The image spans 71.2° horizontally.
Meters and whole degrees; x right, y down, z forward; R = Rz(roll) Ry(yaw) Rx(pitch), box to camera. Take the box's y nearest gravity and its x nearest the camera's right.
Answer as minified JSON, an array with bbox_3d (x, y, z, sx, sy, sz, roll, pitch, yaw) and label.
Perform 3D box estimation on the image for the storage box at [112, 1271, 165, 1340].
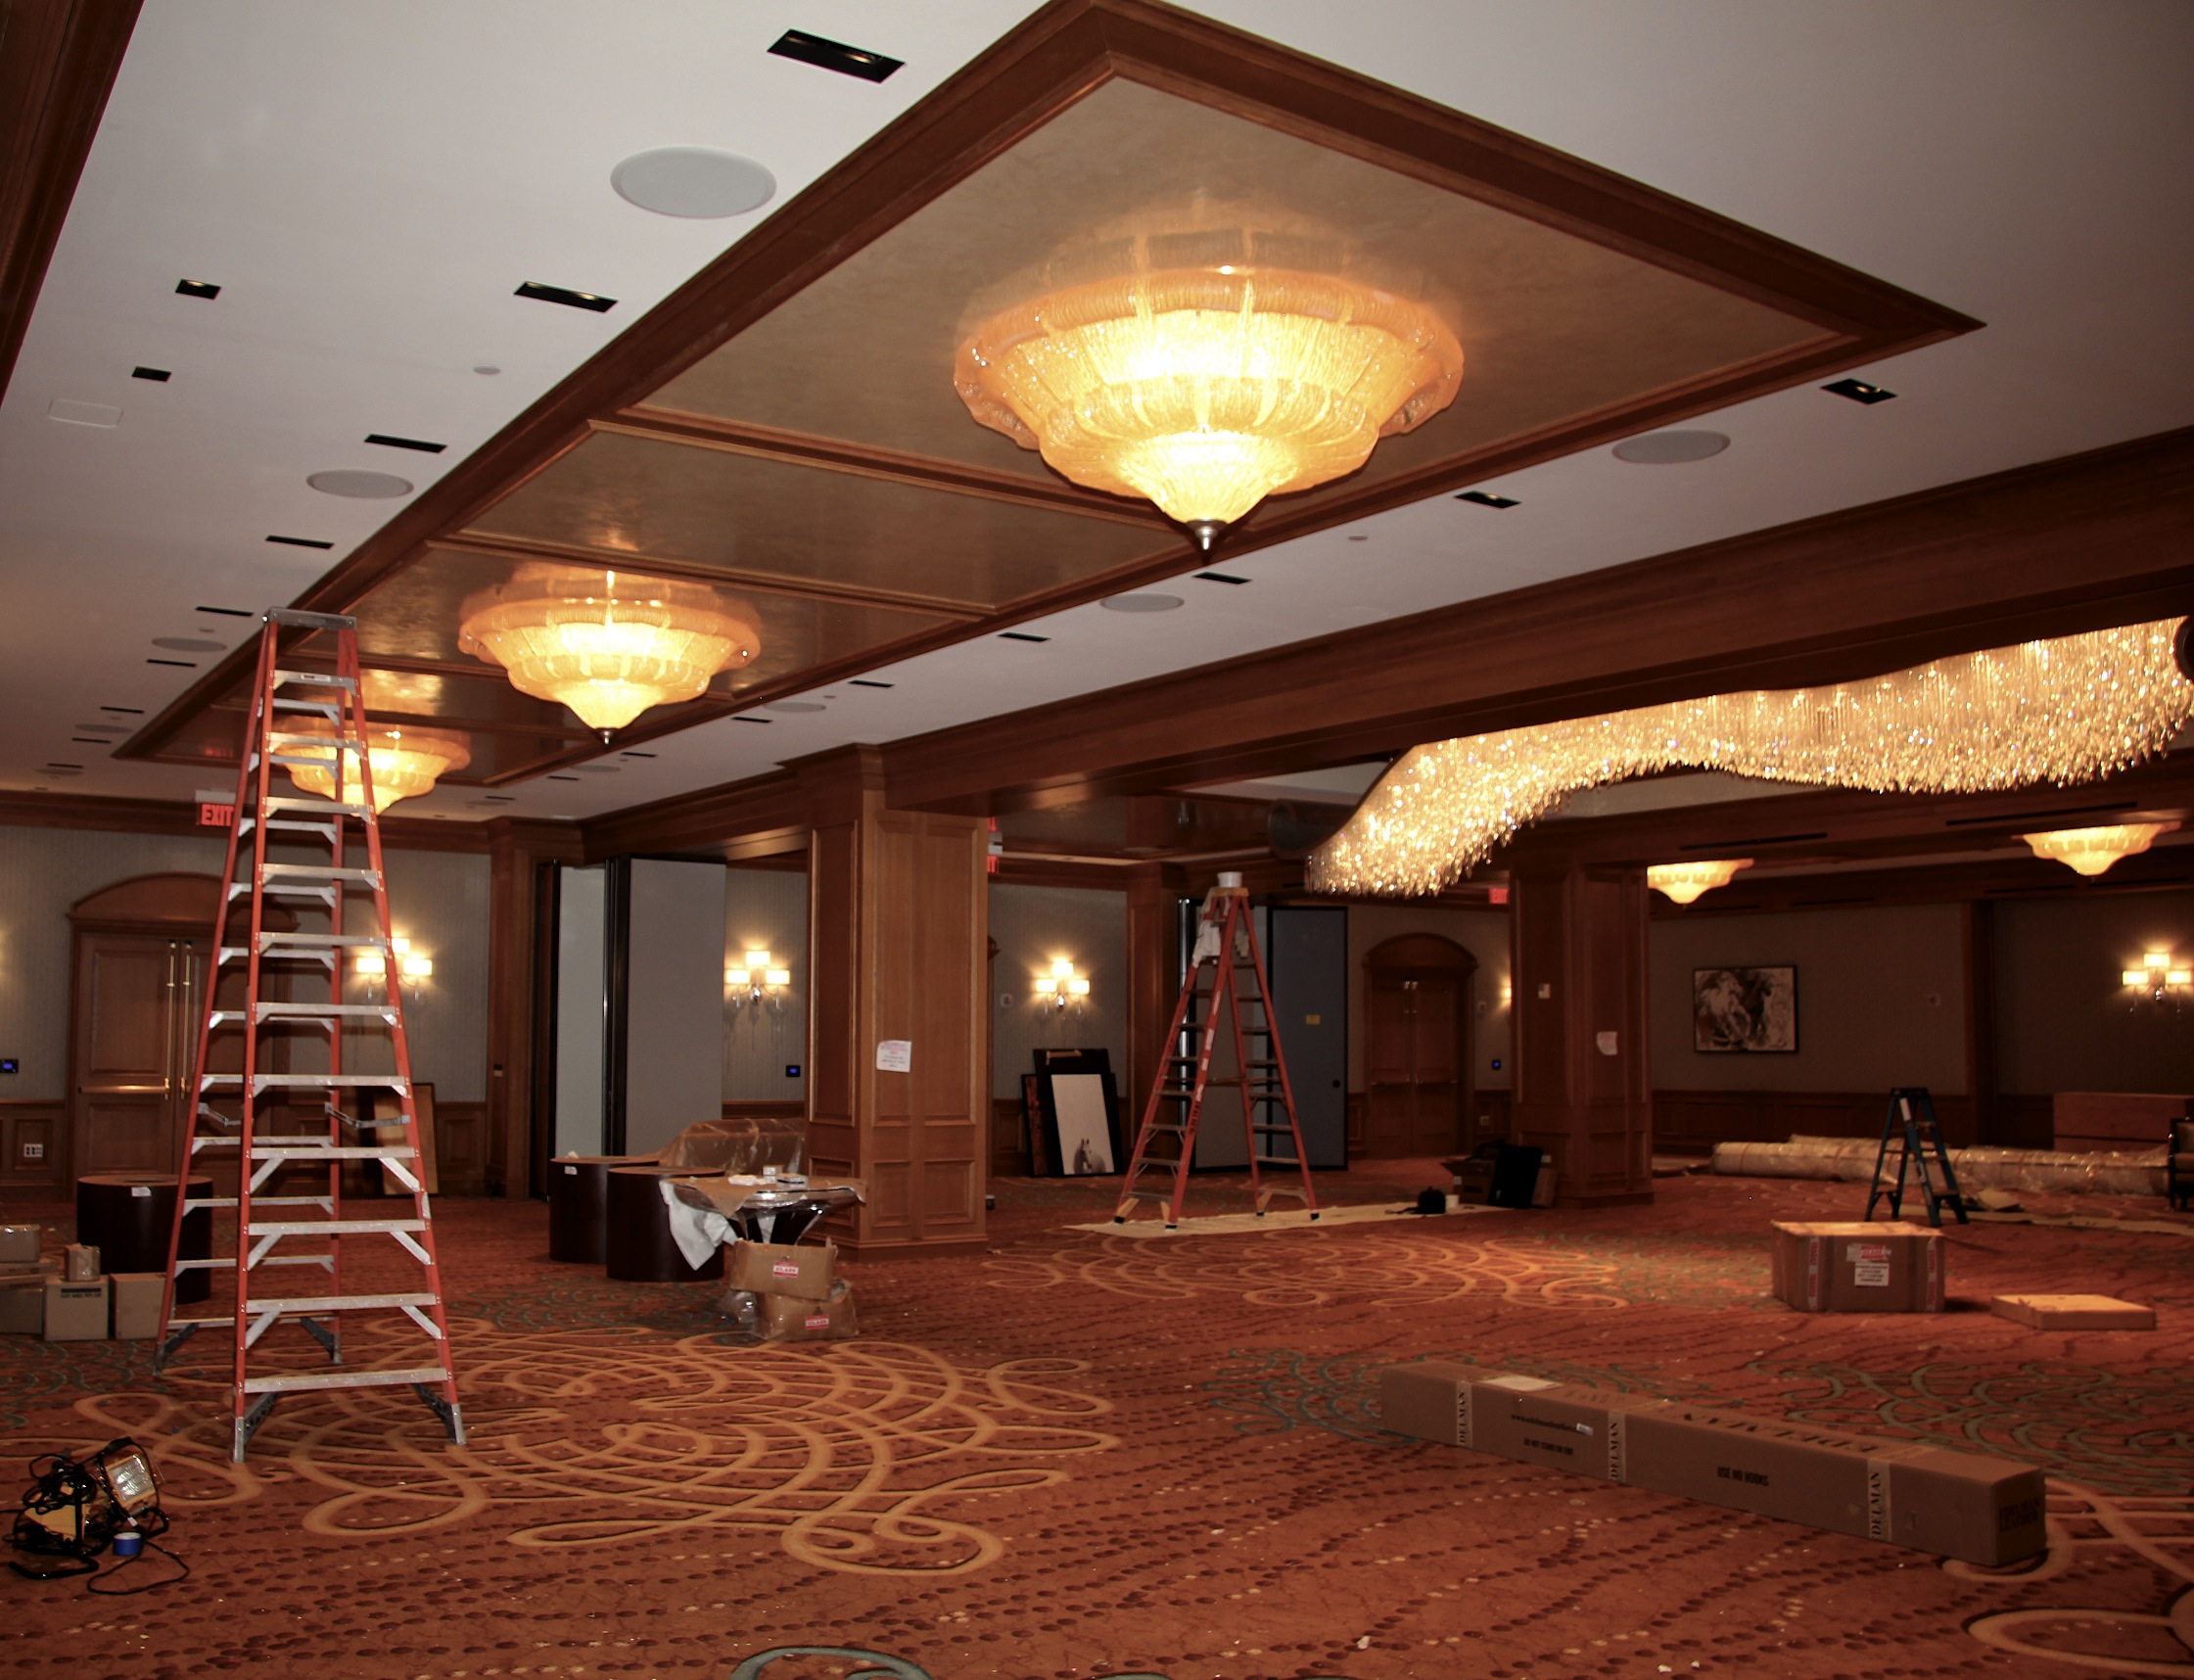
[{"bbox_3d":[-5.109,2.525,8.206,0.215,0.318,0.226,4,-10,-35],"label":"storage box"}]

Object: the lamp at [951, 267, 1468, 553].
[{"bbox_3d":[0.323,-1.222,4.713,1.488,0.366,1.214,0,-13,-1],"label":"lamp"}]

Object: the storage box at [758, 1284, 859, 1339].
[{"bbox_3d":[-1.614,2.666,8.610,0.387,0.136,0.305,1,-3,-39],"label":"storage box"}]

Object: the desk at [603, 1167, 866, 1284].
[{"bbox_3d":[-2.462,2.601,9.780,1.777,0.447,1.157,-1,-4,13],"label":"desk"}]

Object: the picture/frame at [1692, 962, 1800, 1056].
[{"bbox_3d":[9.765,2.579,23.109,0.121,1.379,1.608,6,-11,-42],"label":"picture/frame"}]

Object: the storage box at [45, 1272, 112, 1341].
[{"bbox_3d":[-5.372,2.513,8.232,0.403,0.276,0.335,0,-1,-11],"label":"storage box"}]

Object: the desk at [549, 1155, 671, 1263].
[{"bbox_3d":[-3.530,2.704,11.033,1.098,0.662,1.090,2,-6,-20],"label":"desk"}]

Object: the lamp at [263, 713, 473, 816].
[{"bbox_3d":[-4.695,-0.525,9.930,1.128,0.353,1.039,-2,-2,30],"label":"lamp"}]

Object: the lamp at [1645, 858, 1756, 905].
[{"bbox_3d":[6.600,0.428,17.005,1.026,0.283,0.896,1,-4,-24],"label":"lamp"}]

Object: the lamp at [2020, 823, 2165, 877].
[{"bbox_3d":[9.072,0.042,14.018,0.998,0.245,0.827,-1,-3,1],"label":"lamp"}]

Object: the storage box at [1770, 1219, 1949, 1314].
[{"bbox_3d":[4.735,2.721,9.870,0.847,0.299,0.692,1,-7,-8],"label":"storage box"}]

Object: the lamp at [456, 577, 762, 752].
[{"bbox_3d":[-2.494,-0.843,7.954,1.521,0.480,1.345,7,-14,-27],"label":"lamp"}]
